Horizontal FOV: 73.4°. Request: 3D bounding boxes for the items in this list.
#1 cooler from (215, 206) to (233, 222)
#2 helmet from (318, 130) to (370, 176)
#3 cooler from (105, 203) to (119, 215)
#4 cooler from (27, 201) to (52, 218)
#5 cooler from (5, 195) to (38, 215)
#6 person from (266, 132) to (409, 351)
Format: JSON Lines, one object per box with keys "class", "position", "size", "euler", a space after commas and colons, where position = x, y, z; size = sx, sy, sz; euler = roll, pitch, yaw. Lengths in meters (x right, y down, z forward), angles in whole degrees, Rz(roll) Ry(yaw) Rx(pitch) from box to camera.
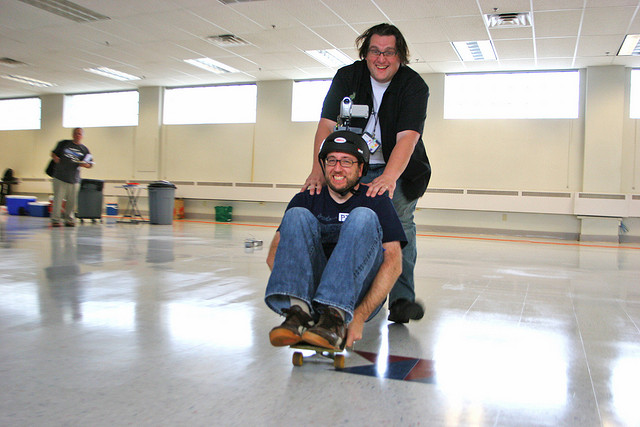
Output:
{"class": "cooler", "position": [-2.865, -0.002, 12.706], "size": [0.490, 0.429, 0.471], "euler": [1, 4, -15]}
{"class": "helmet", "position": [0.137, -0.295, 2.194], "size": [0.188, 0.225, 0.185], "euler": [2, 0, 14]}
{"class": "cooler", "position": [-6.142, -0.129, 12.626], "size": [0.352, 0.271, 0.277], "euler": [0, 7, -7]}
{"class": "cooler", "position": [-7.229, -0.104, 10.956], "size": [0.573, 0.343, 0.432], "euler": [0, -1, -2]}
{"class": "cooler", "position": [-7.848, -0.190, 11.089], "size": [0.549, 0.357, 0.560], "euler": [-2, -3, 39]}
{"class": "person", "position": [0.096, 0.113, 2.065], "size": [0.629, 1.020, 0.488], "euler": [3, 4, 10]}
